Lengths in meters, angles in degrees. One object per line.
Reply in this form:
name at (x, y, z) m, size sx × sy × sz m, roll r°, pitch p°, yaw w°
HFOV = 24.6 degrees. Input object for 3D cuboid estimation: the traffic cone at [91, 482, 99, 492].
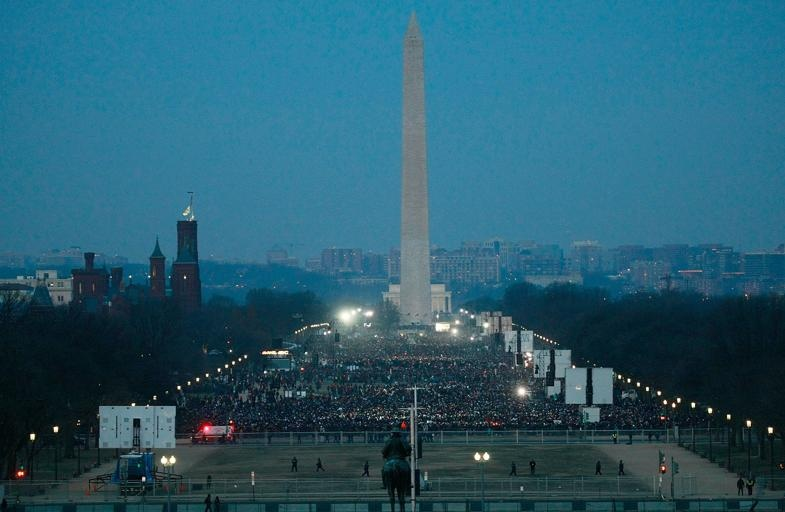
traffic cone at (-17.231, 13.357, 104.146) m, size 0.519 × 0.477 × 0.274 m, roll 1°, pitch 4°, yaw -2°
